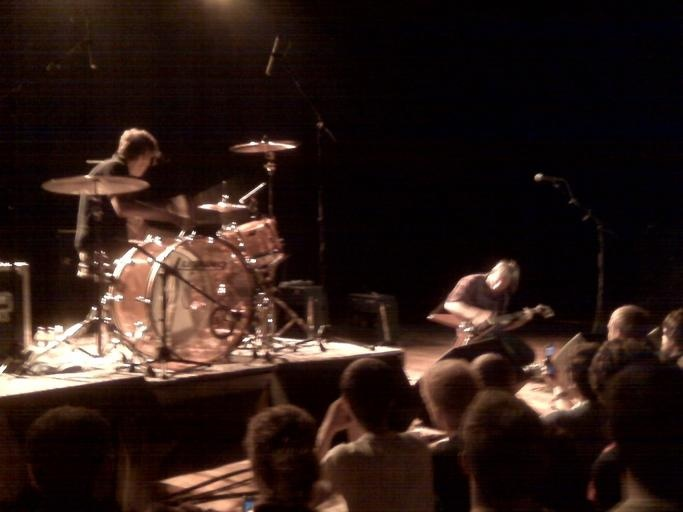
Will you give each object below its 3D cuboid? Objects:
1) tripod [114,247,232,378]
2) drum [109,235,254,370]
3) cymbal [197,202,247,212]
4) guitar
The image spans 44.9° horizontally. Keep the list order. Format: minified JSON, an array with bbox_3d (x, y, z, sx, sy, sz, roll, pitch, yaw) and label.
[{"bbox_3d":[-1.323,0.375,6.638,0.770,0.980,0.696,-1,-1,23],"label":"tripod"},{"bbox_3d":[-1.288,0.386,6.635,1.376,1.023,0.888,-2,4,-44],"label":"drum"},{"bbox_3d":[-1.037,-0.429,7.212,0.434,0.097,0.301,-1,-1,4],"label":"cymbal"},{"bbox_3d":[1.379,0.740,8.143,1.125,0.121,0.530,-8,-2,29],"label":"guitar"}]
